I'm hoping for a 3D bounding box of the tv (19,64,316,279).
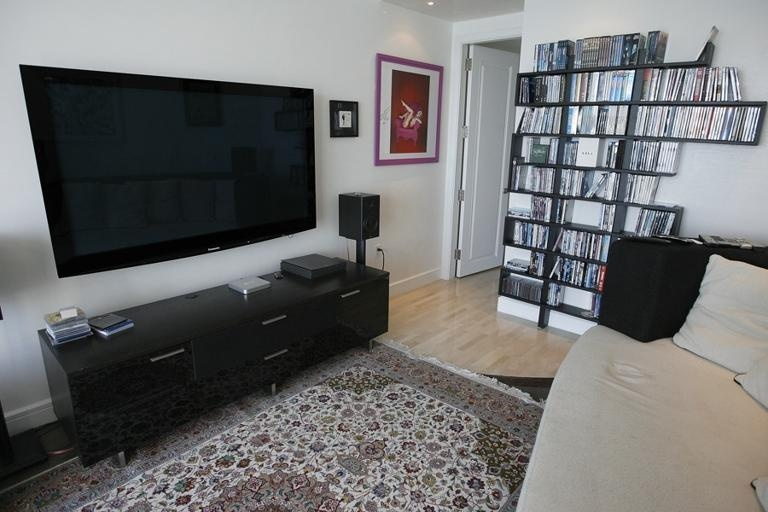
[{"bbox_3d":[-1.514,-0.593,3.317,1.608,1.037,0.131,-11,23,-36],"label":"tv"}]

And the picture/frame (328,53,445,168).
[{"bbox_3d":[-0.005,-1.397,4.620,1.245,1.168,0.054,-8,14,-43],"label":"picture/frame"}]
